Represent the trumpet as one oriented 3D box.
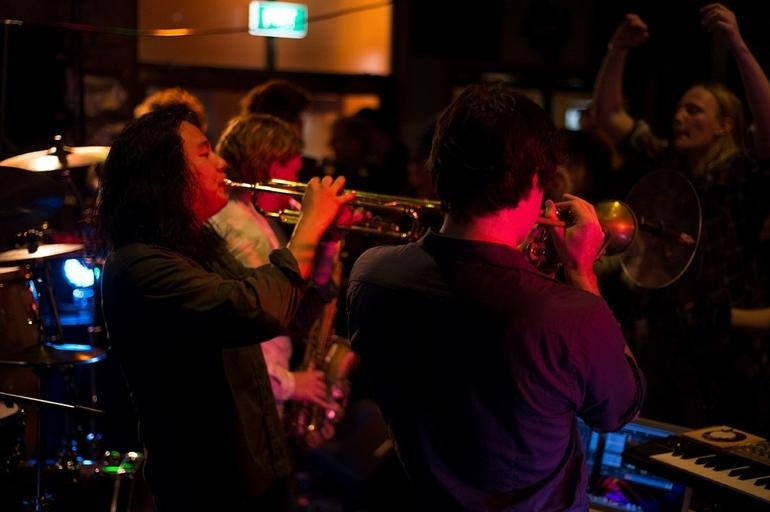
[{"bbox_3d":[0.856,-0.112,3.034,0.479,0.192,0.192,-5,8,19],"label":"trumpet"}]
